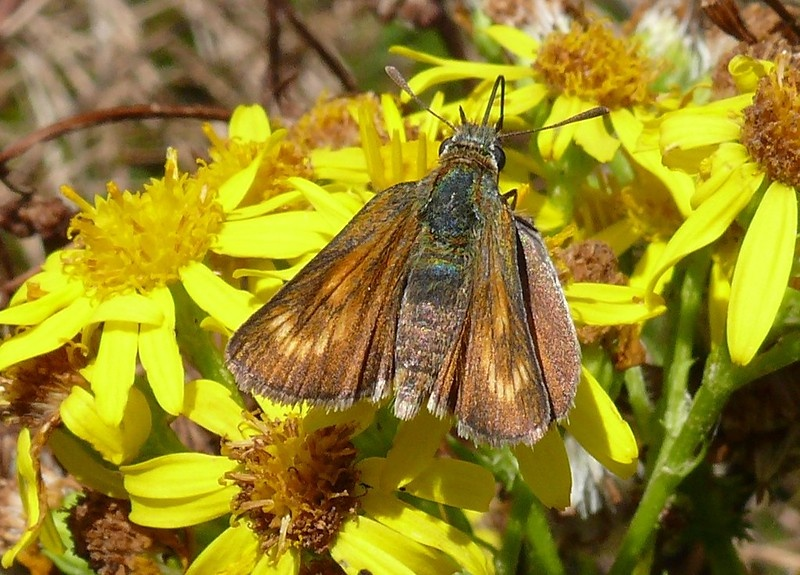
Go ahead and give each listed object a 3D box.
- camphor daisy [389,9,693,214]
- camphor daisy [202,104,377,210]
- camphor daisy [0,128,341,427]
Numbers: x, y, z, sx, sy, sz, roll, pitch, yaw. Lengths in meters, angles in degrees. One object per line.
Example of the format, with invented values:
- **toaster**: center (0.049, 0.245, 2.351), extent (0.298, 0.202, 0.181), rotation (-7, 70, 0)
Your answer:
- **camphor daisy**: center (0.448, -0.635, 3.095), extent (0.657, 0.705, 0.298), rotation (18, 94, 10)
- **camphor daisy**: center (-0.329, -0.413, 3.035), extent (0.422, 0.409, 0.171), rotation (-42, 108, -26)
- **camphor daisy**: center (-0.610, 0.110, 2.771), extent (0.697, 0.322, 0.748), rotation (19, 64, 38)
